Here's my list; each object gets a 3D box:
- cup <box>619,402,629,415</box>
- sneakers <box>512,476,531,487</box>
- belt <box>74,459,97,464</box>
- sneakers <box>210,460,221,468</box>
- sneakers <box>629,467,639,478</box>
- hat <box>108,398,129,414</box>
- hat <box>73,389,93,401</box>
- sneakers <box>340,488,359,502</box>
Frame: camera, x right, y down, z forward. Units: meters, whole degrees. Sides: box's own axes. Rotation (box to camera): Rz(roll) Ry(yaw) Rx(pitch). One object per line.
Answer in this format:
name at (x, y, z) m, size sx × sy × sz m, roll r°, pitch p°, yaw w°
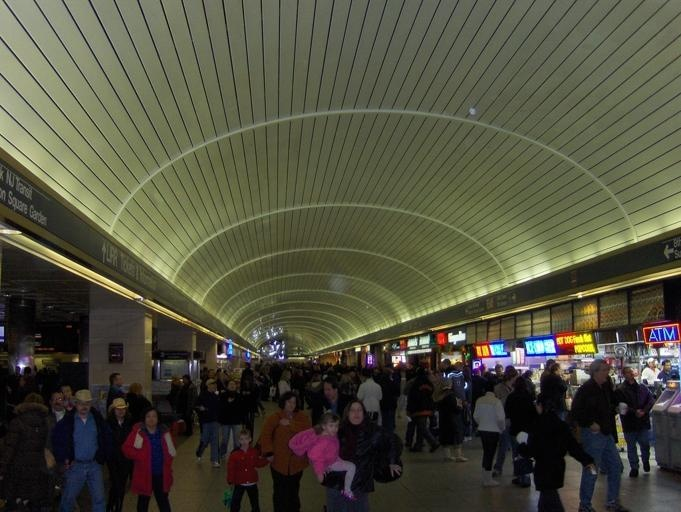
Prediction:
cup at (5.803, 3.097, 10.059) m, size 0.161 × 0.252 × 0.240 m, roll 5°, pitch -18°, yaw 16°
sneakers at (3.420, 4.264, 9.373) m, size 0.135 × 0.206 × 0.432 m, roll 2°, pitch -4°, yaw -11°
belt at (-3.498, 2.806, 6.768) m, size 0.256 × 0.066 × 0.063 m, roll 0°, pitch -13°, yaw -17°
sneakers at (-2.894, 4.834, 11.472) m, size 0.250 × 0.126 × 0.083 m, roll -17°, pitch -16°, yaw 42°
sneakers at (5.821, 4.309, 9.812) m, size 0.088 × 0.122 × 0.265 m, roll -3°, pitch -23°, yaw 13°
hat at (-3.331, 2.214, 7.416) m, size 0.232 × 0.128 × 0.316 m, roll 1°, pitch -12°, yaw -23°
hat at (-3.631, 1.973, 6.978) m, size 0.205 × 0.176 × 0.228 m, roll -2°, pitch -13°, yaw -6°
sneakers at (0.092, 2.649, 5.467) m, size 0.076 × 0.137 × 0.219 m, roll -6°, pitch -5°, yaw -29°
